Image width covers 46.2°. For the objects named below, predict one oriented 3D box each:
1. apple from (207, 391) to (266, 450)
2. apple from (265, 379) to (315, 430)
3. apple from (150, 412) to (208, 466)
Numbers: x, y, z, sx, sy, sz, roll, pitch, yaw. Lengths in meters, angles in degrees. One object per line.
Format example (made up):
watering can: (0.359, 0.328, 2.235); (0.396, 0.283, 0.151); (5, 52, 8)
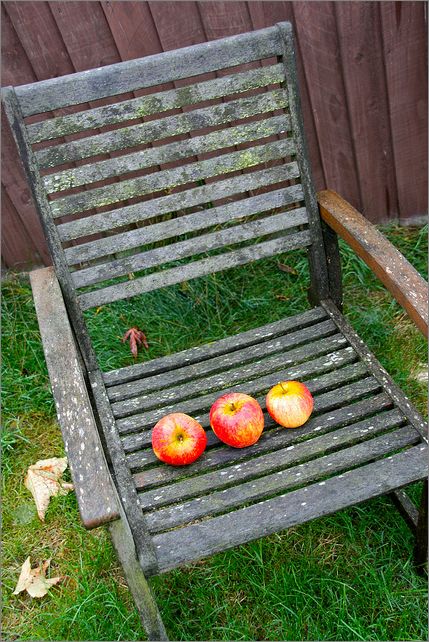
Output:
apple: (0.048, 0.207, 1.051); (0.105, 0.122, 0.106); (-21, 41, 3)
apple: (0.153, 0.168, 1.032); (0.088, 0.070, 0.083); (-18, 35, -2)
apple: (-0.069, 0.238, 0.999); (0.105, 0.054, 0.111); (-23, 62, -15)
